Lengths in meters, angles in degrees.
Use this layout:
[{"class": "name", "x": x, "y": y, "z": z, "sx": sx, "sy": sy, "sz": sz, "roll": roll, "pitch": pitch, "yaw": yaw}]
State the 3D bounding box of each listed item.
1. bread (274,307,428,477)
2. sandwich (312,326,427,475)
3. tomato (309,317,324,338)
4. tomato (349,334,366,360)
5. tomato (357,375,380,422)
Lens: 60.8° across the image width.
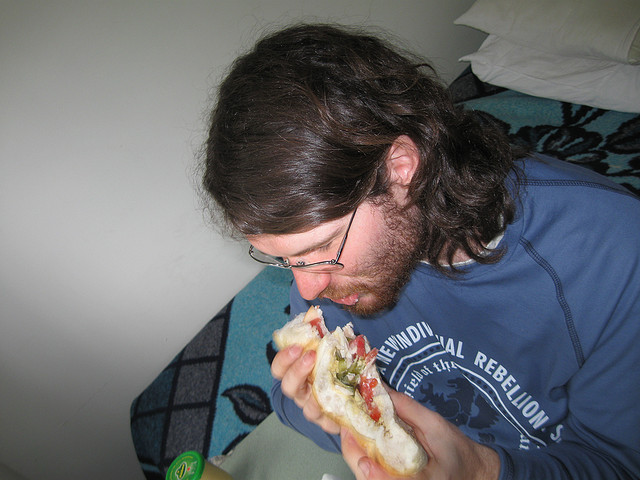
[{"class": "bread", "x": 0.140, "y": 0.518, "z": 1.878, "sx": 0.181, "sy": 0.291, "sz": 0.585, "roll": -11, "pitch": 56, "yaw": -46}, {"class": "sandwich", "x": 0.145, "y": 0.553, "z": 1.911, "sx": 0.266, "sy": 0.174, "sz": 0.502, "roll": -33, "pitch": 73, "yaw": -7}, {"class": "tomato", "x": -0.011, "y": 0.299, "z": 1.877, "sx": 0.015, "sy": 0.054, "sz": 0.053, "roll": -37, "pitch": 20, "yaw": 23}, {"class": "tomato", "x": 0.125, "y": 0.366, "z": 1.859, "sx": 0.024, "sy": 0.068, "sz": 0.053, "roll": -4, "pitch": 9, "yaw": -7}, {"class": "tomato", "x": 0.164, "y": 0.530, "z": 1.820, "sx": 0.077, "sy": 0.127, "sz": 0.033, "roll": -16, "pitch": -5, "yaw": 39}]
